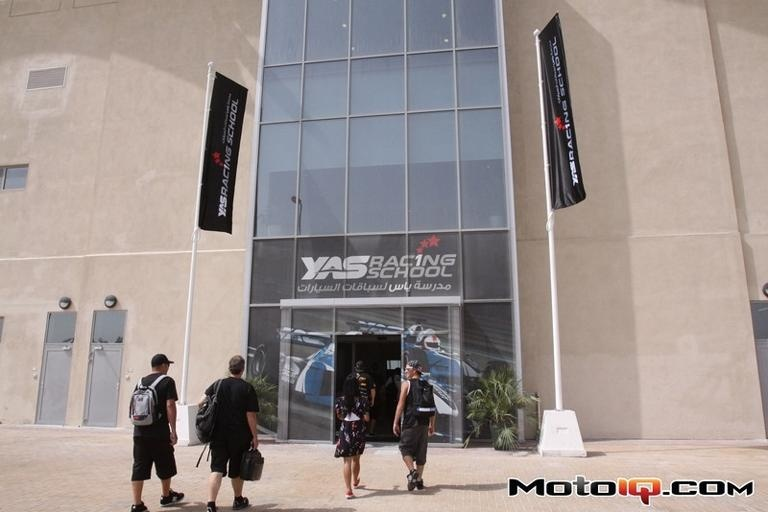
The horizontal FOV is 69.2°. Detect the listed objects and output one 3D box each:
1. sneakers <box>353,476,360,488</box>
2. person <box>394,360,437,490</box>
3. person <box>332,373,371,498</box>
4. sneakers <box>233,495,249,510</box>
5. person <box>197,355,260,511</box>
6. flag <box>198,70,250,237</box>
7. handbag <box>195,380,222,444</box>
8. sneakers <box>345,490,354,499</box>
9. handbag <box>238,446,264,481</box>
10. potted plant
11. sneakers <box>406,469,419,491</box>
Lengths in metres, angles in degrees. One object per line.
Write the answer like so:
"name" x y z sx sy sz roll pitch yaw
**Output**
"sneakers" -0.663 5.326 13.028 0.119 0.126 0.322 1 -4 6
"person" 0.577 4.013 13.122 0.901 2.653 1.284 5 -7 -38
"person" -0.759 4.123 12.858 0.724 2.700 0.797 1 -13 -2
"sneakers" -3.058 5.250 11.826 0.183 0.177 0.409 0 0 9
"person" -3.244 3.762 12.104 1.321 3.164 1.062 3 -11 -8
"flag" -5.623 -3.589 19.378 1.273 5.365 1.688 5 -4 17
"handbag" -3.703 3.259 11.651 0.512 1.267 0.238 -1 -13 5
"sneakers" -0.785 5.343 12.459 0.219 0.146 0.193 1 -13 -3
"handbag" -2.782 4.332 11.566 0.441 0.633 0.242 3 -13 -11
"potted plant" 3.544 4.895 18.046 1.829 2.686 1.587 1 -4 3
"sneakers" 0.628 5.152 12.813 0.219 0.500 0.228 -3 13 -18
